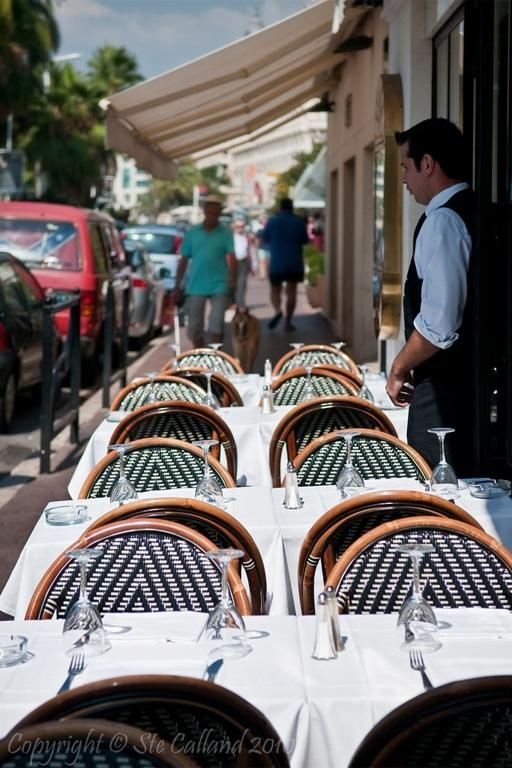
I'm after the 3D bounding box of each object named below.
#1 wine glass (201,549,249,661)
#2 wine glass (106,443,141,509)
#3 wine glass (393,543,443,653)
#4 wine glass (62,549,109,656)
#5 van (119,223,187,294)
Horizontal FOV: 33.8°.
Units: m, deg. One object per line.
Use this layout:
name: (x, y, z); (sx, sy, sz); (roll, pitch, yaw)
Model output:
wine glass: (-0.065, 0.454, 1.819); (0.113, 0.292, 0.284); (1, 8, -4)
wine glass: (-0.521, 0.360, 3.292); (0.106, 0.084, 0.234); (-6, 51, -8)
wine glass: (0.354, 0.463, 1.848); (0.088, 0.239, 0.090); (-2, 3, 27)
wine glass: (-0.405, 0.522, 1.973); (0.105, 0.260, 0.110); (14, -28, -43)
van: (-2.600, -3.174, 21.787); (1.600, 1.607, 2.959); (1, 14, 5)
